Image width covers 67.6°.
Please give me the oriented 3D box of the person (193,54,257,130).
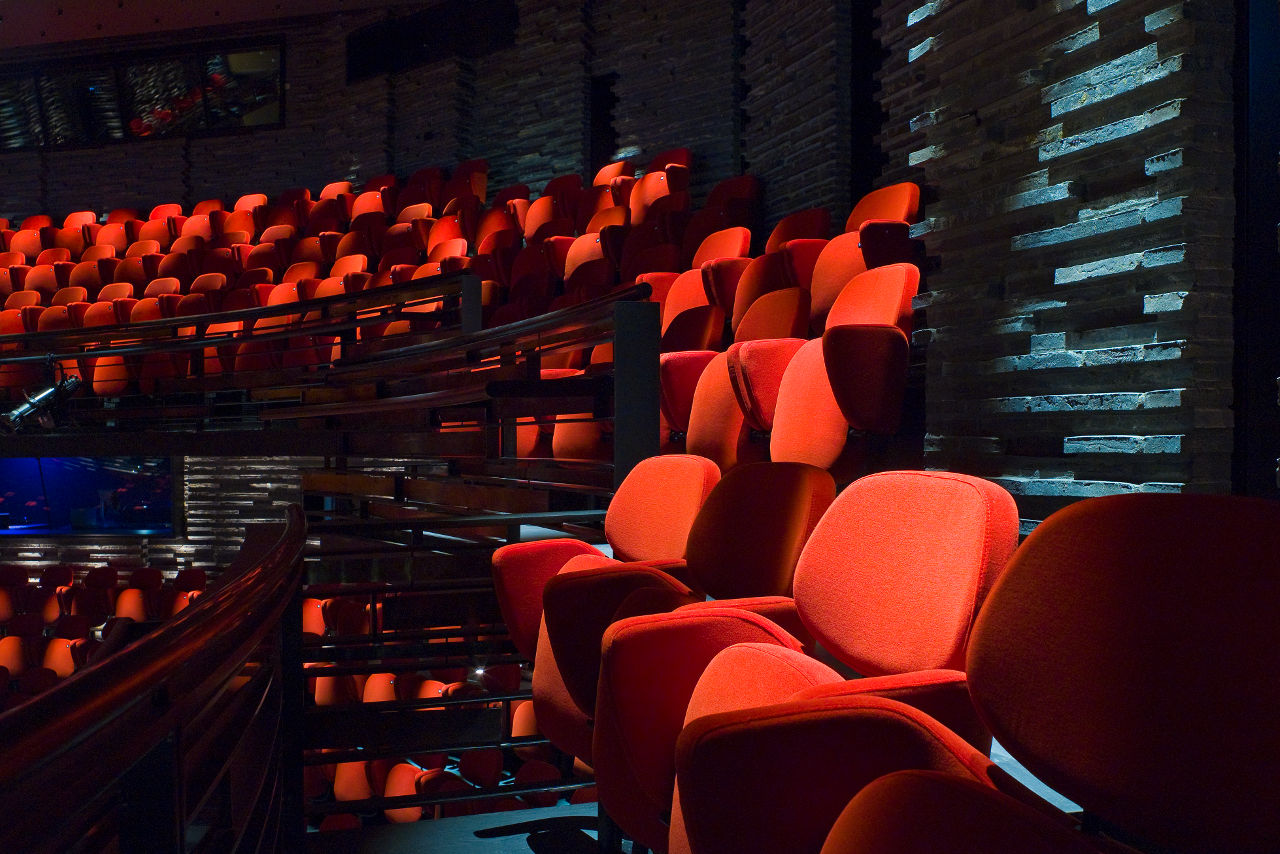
[{"bbox_3d":[-4.864,-3.939,11.258,0.538,0.786,0.247,1,-2,-8],"label":"person"}]
